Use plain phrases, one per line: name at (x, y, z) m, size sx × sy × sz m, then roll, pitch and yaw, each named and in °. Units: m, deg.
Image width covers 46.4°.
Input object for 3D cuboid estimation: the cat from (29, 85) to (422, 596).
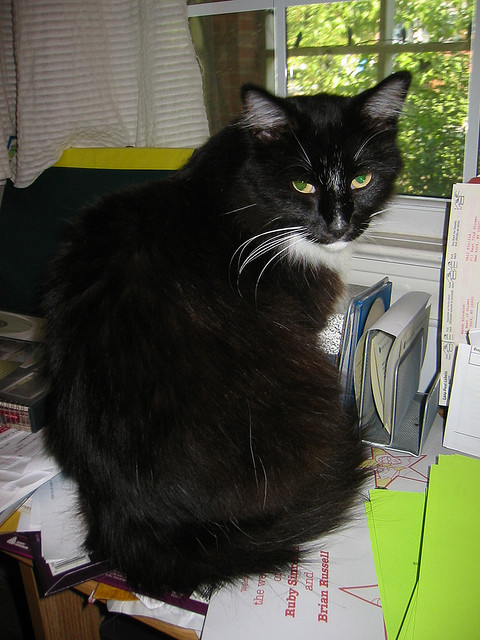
cat at (0.015, -0.012, 0.836) m, size 0.598 × 0.610 × 0.388 m, roll -11°, pitch 23°, yaw -23°
